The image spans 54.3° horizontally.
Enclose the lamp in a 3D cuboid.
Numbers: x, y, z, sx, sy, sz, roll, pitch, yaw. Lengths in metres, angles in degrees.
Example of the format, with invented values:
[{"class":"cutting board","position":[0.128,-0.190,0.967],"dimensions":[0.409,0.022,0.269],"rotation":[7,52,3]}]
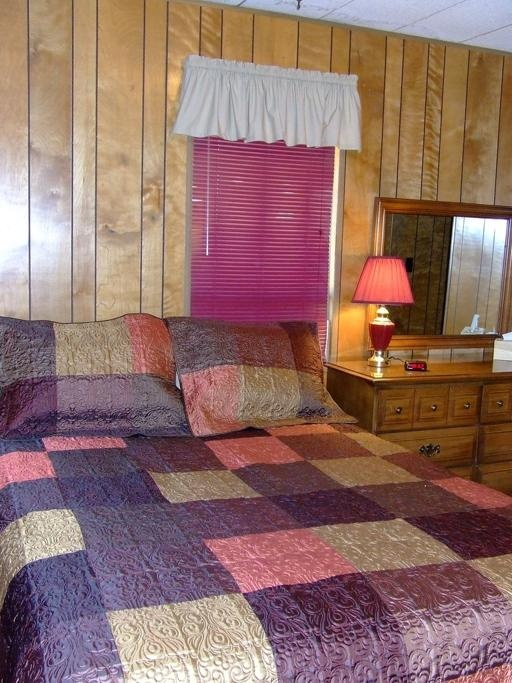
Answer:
[{"class":"lamp","position":[0.686,-0.158,2.669],"dimensions":[0.291,0.598,0.345],"rotation":[4,3,23]}]

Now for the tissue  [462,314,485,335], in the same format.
[{"class":"tissue ","position":[1.366,-0.115,3.143],"dimensions":[0.130,0.122,0.069],"rotation":[1,4,-9]}]
